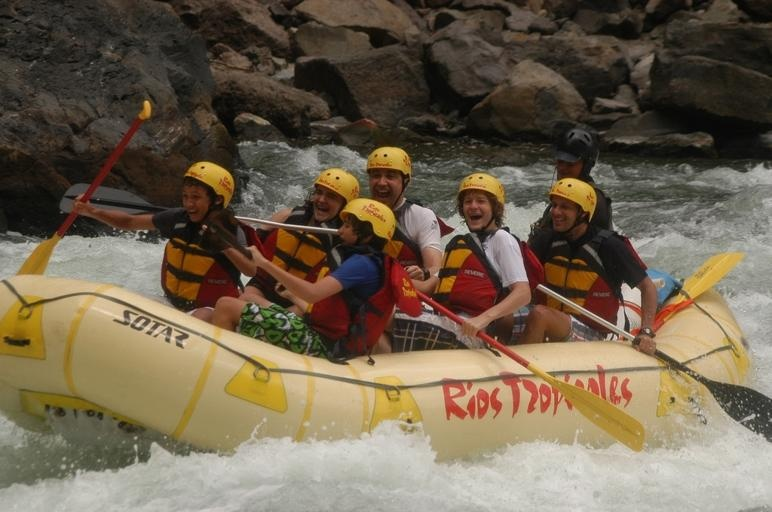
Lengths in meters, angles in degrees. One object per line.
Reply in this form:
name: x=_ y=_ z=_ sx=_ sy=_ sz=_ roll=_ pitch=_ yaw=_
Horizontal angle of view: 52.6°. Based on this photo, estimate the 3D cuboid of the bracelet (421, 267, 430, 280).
bracelet: x=0.351 y=0.165 z=7.047 sx=0.068 sy=0.087 sz=0.081 roll=1 pitch=58 yaw=4

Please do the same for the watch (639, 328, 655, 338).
watch: x=2.211 y=0.657 z=6.637 sx=0.093 sy=0.096 sz=0.034 roll=9 pitch=57 yaw=-24

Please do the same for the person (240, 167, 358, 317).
person: x=-0.742 y=-0.167 z=6.922 sx=1.019 sy=1.282 sz=0.425 roll=30 pitch=1 yaw=-2

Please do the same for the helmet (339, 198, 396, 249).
helmet: x=-0.128 y=-0.284 z=6.294 sx=0.425 sy=0.305 sz=0.323 roll=21 pitch=-13 yaw=-12

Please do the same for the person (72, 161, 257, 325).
person: x=-2.088 y=-0.092 z=7.108 sx=1.671 sy=1.899 sz=1.015 roll=6 pitch=4 yaw=3

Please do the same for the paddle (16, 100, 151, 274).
paddle: x=-3.305 y=-0.710 z=8.355 sx=0.320 sy=2.845 sz=0.207 roll=46 pitch=8 yaw=-5

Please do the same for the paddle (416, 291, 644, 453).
paddle: x=1.103 y=0.987 z=6.311 sx=2.195 sy=0.246 sz=0.154 roll=33 pitch=8 yaw=7
